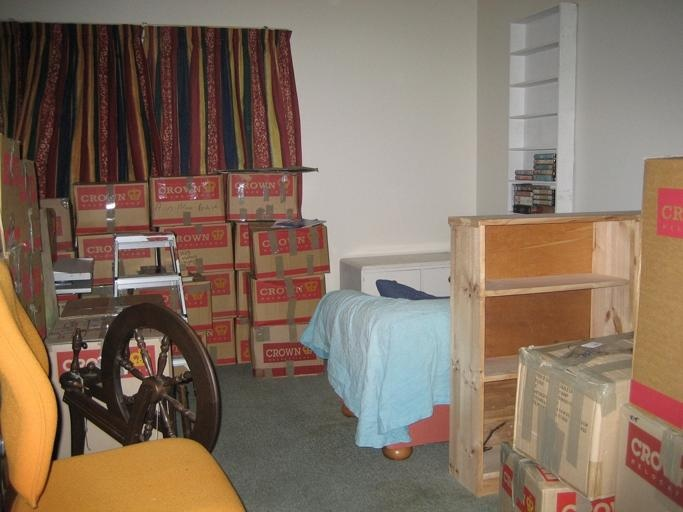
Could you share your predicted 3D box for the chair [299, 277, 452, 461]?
[{"bbox_3d":[0.178,0.580,3.034,0.744,0.398,0.783,4,-1,-3],"label":"chair"}]
